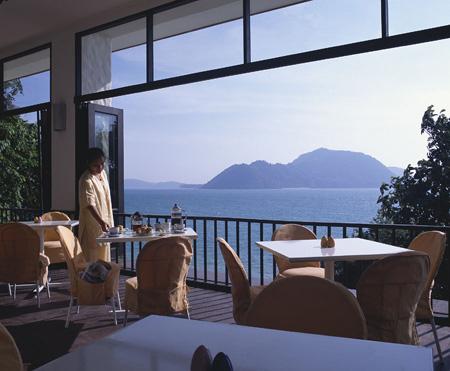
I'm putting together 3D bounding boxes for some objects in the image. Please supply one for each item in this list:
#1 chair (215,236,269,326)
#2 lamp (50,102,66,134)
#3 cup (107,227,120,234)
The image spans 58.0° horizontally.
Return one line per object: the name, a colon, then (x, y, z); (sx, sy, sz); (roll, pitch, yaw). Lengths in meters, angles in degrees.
chair: (0.054, 0.663, 3.210); (0.486, 0.849, 0.483); (-3, 4, -8)
lamp: (-2.545, -1.049, 6.225); (0.252, 0.436, 0.123); (-8, -1, 31)
cup: (-1.075, 0.433, 3.929); (0.063, 0.052, 0.104); (0, -12, -7)
